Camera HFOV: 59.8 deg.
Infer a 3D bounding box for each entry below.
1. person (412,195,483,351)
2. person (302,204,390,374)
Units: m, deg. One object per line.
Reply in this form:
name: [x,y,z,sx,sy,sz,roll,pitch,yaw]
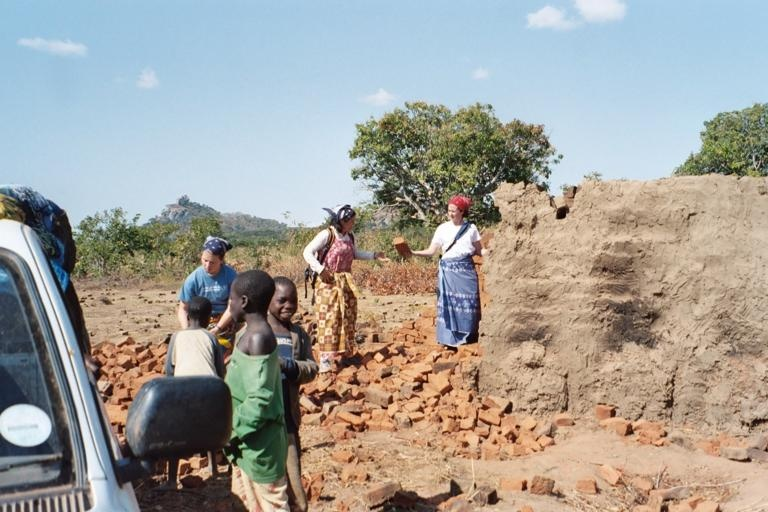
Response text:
person: [0.972,0.253,8.882,0.681,2.116,0.820,-5,12,-13]
person: [-0.661,0.365,8.660,0.600,2.108,0.928,3,13,24]
